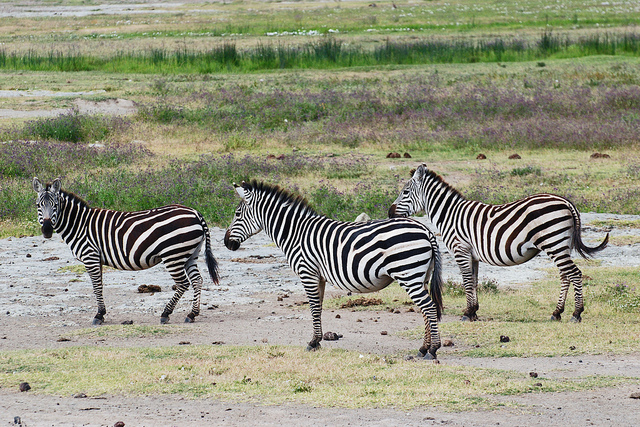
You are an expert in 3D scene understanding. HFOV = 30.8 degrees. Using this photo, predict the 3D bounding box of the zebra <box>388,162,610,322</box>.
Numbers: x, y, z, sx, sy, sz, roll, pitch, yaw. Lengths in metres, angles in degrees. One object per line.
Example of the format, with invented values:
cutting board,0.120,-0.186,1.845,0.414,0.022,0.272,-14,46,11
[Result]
zebra,4.536,0.811,29.709,5.747,3.876,1.488,1,5,21

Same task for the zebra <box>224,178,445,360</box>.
zebra,0.326,1.353,28.601,5.850,4.150,1.582,2,3,24
